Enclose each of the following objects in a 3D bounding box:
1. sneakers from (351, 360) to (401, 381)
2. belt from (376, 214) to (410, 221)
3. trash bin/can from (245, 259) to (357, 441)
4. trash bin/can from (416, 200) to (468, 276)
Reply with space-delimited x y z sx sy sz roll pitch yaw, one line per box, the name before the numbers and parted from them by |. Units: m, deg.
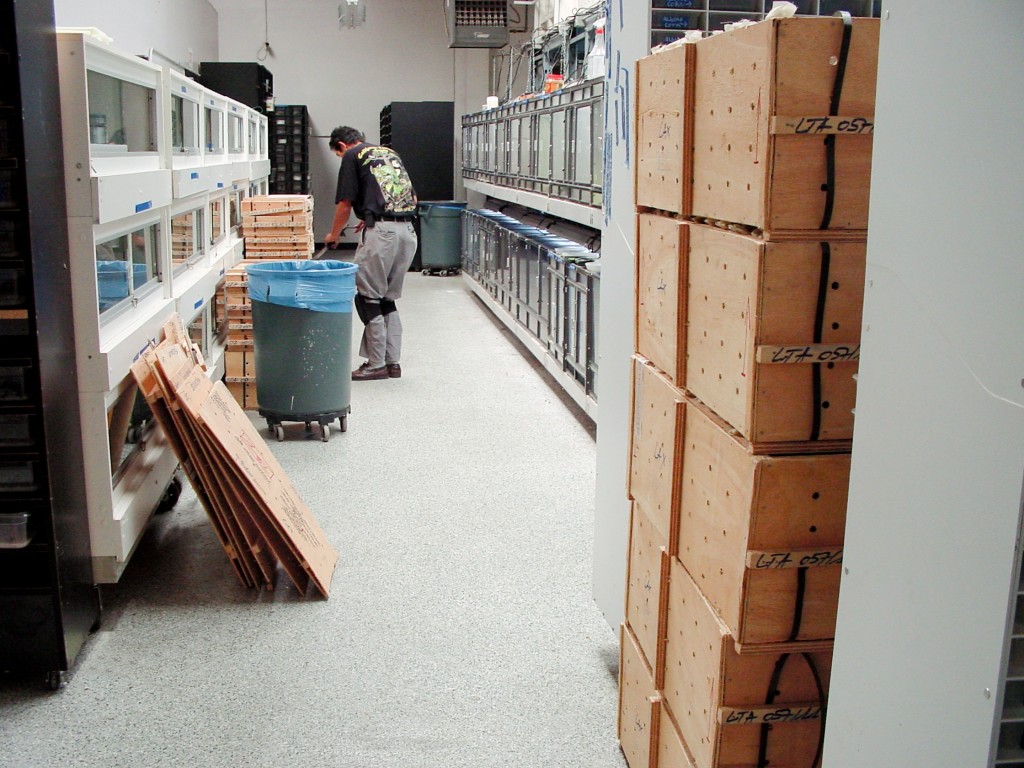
sneakers | -1.276 -0.128 7.196 0.459 0.198 0.171 1 4 -11
belt | -1.042 -1.488 6.926 0.104 0.077 0.369 11 18 35
trash bin/can | -1.466 -0.258 5.427 0.717 1.111 0.725 7 10 33
trash bin/can | -1.087 -2.664 14.089 0.879 1.123 0.774 -6 14 -16
